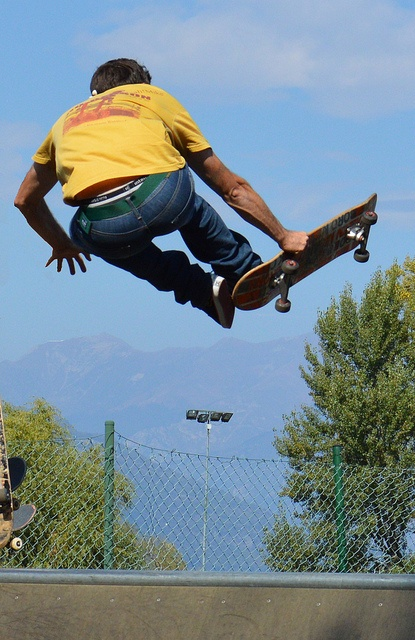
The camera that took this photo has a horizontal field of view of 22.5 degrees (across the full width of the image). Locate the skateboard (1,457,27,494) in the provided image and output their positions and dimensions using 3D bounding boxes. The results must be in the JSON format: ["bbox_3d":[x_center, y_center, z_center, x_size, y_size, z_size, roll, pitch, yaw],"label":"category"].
[{"bbox_3d":[-0.746,0.599,4.071,0.102,0.118,0.034,-3,-10,31],"label":"skateboard"}]

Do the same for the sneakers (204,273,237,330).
[{"bbox_3d":[0.080,-0.098,5.730,0.153,0.115,0.347,25,-16,24],"label":"sneakers"}]

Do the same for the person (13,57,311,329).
[{"bbox_3d":[-0.284,-0.579,5.233,1.474,1.403,1.131,1,10,4],"label":"person"}]

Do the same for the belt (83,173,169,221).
[{"bbox_3d":[-0.367,-0.511,4.773,0.308,0.066,0.221,-22,7,3],"label":"belt"}]
